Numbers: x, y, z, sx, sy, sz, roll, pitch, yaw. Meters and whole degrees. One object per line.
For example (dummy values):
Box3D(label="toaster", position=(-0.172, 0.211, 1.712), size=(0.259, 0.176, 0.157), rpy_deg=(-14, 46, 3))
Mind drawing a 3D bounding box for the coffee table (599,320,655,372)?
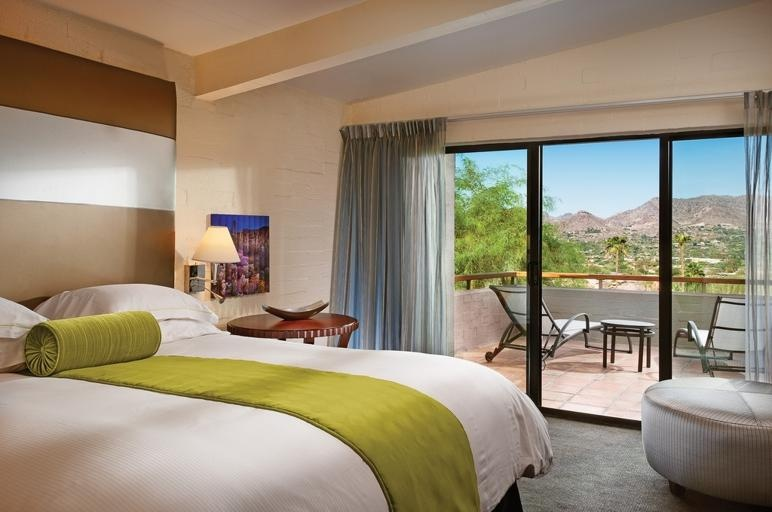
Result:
Box3D(label="coffee table", position=(2.269, 0.827, 4.692), size=(0.477, 0.490, 0.510), rpy_deg=(-1, -2, 20))

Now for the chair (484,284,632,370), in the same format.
Box3D(label="chair", position=(1.753, 0.683, 4.907), size=(1.433, 0.696, 0.669), rpy_deg=(2, -5, -34))
